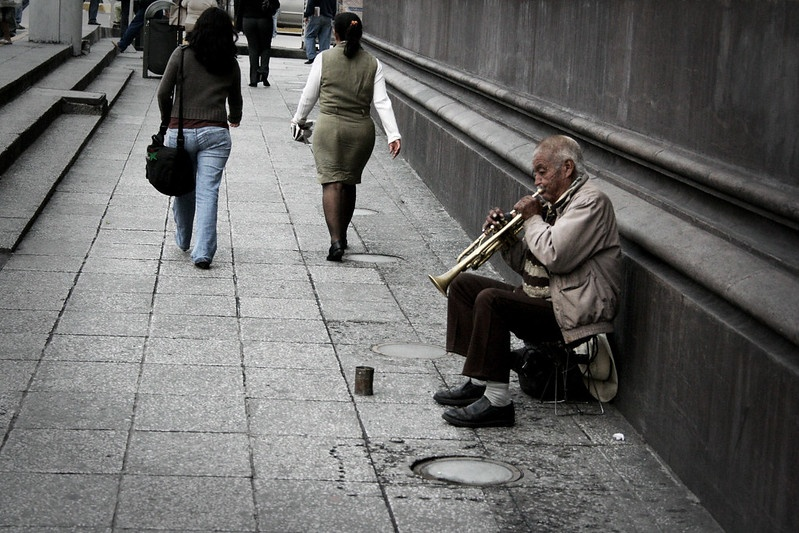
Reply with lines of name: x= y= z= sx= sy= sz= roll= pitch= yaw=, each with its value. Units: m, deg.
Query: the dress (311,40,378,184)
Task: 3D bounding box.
dress: x=-0.576 y=-1.624 z=7.872 sx=0.663 sy=1.430 sz=0.606 roll=1 pitch=22 yaw=-9

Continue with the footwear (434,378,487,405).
footwear: x=0.411 y=0.849 z=4.916 sx=0.337 sy=0.121 sz=0.153 roll=-5 pitch=10 yaw=-7

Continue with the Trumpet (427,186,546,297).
Trumpet: x=0.609 y=-0.154 z=4.956 sx=0.331 sy=1.045 sz=0.313 roll=12 pitch=52 yaw=-31

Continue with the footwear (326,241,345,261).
footwear: x=-0.668 y=-0.155 z=7.714 sx=0.159 sy=0.194 sz=0.129 roll=-1 pitch=22 yaw=-15

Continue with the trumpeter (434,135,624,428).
trumpeter: x=0.871 y=0.124 z=4.998 sx=1.188 sy=1.937 sz=1.188 roll=0 pitch=0 yaw=-34

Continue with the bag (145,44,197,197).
bag: x=-2.267 y=-1.402 z=7.293 sx=0.488 sy=1.426 sz=0.683 roll=3 pitch=-5 yaw=-21

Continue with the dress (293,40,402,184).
dress: x=-1.051 y=-1.610 z=8.156 sx=0.964 sy=1.654 sz=2.401 roll=0 pitch=-4 yaw=-7
